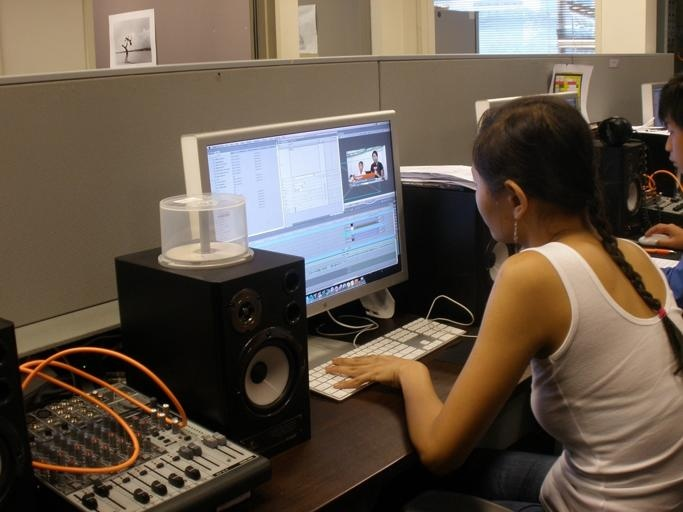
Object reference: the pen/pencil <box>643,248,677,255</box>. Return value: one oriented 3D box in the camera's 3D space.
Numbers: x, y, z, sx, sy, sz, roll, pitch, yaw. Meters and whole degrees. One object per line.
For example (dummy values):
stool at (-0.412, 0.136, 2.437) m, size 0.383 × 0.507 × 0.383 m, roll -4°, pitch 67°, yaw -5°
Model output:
pen/pencil at (1.152, -0.020, 2.113) m, size 0.099 × 0.014 × 0.014 m, roll -2°, pitch 37°, yaw 13°

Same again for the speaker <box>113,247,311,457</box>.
speaker at (-0.214, 0.172, 1.171) m, size 0.176 × 0.327 × 0.284 m, roll -9°, pitch 13°, yaw -36°

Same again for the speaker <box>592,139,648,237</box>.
speaker at (1.116, -0.271, 2.379) m, size 0.167 × 0.313 × 0.182 m, roll -8°, pitch 7°, yaw -42°

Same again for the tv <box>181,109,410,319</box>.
tv at (-0.085, -0.079, 1.455) m, size 0.550 × 0.496 × 0.165 m, roll -16°, pitch 24°, yaw -35°

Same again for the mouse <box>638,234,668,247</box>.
mouse at (1.197, -0.065, 2.254) m, size 0.074 × 0.021 × 0.045 m, roll 0°, pitch 15°, yaw 11°
